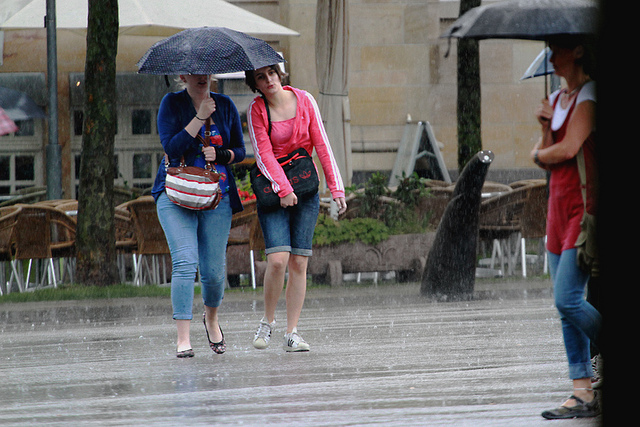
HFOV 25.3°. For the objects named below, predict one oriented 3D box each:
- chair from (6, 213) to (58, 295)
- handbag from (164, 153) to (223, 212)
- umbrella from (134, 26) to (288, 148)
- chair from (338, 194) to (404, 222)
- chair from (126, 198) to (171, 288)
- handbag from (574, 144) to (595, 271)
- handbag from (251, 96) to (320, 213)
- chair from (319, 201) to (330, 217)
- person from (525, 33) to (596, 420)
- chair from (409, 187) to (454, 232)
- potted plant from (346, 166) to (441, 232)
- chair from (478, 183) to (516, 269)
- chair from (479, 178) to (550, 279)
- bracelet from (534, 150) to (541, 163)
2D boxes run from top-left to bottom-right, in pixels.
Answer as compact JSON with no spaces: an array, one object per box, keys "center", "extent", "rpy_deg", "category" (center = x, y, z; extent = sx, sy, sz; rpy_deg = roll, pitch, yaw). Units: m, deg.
[{"center":[-3.956,0.521,19.709],"extent":[0.874,1.499,1.039],"rpy_deg":[-1,8,-12],"category":"chair"},{"center":[-1.374,-0.322,15.170],"extent":[0.508,0.725,0.201],"rpy_deg":[-3,-14,-6],"category":"handbag"},{"center":[-1.232,-1.335,15.951],"extent":[1.621,1.569,1.809],"rpy_deg":[4,17,16],"category":"umbrella"},{"center":[0.724,-0.071,20.316],"extent":[0.945,0.375,0.246],"rpy_deg":[-1,7,-2],"category":"chair"},{"center":[-2.314,0.489,19.743],"extent":[0.698,1.006,0.756],"rpy_deg":[-5,-14,-27],"category":"chair"},{"center":[2.470,-0.045,13.424],"extent":[0.163,1.140,0.279],"rpy_deg":[-1,7,-4],"category":"handbag"},{"center":[-0.384,-0.640,15.326],"extent":[0.743,1.186,0.485],"rpy_deg":[-21,-6,-14],"category":"handbag"},{"center":[0.065,-0.063,20.620],"extent":[0.138,0.177,0.405],"rpy_deg":[-1,8,-1],"category":"chair"},{"center":[2.299,0.106,13.480],"extent":[0.530,3.562,0.833],"rpy_deg":[-1,7,-1],"category":"person"},{"center":[1.543,0.033,20.713],"extent":[0.652,0.727,0.835],"rpy_deg":[8,1,-19],"category":"chair"},{"center":[1.033,-0.295,20.828],"extent":[0.947,0.581,1.004],"rpy_deg":[5,-13,-2],"category":"potted plant"},{"center":[2.569,0.254,20.727],"extent":[0.512,1.324,1.073],"rpy_deg":[0,7,6],"category":"chair"},{"center":[2.824,0.295,20.652],"extent":[0.920,1.431,1.066],"rpy_deg":[0,-1,35],"category":"chair"},{"center":[2.068,-0.544,13.604],"extent":[0.031,0.122,0.061],"rpy_deg":[-6,9,-38],"category":"bracelet"}]
